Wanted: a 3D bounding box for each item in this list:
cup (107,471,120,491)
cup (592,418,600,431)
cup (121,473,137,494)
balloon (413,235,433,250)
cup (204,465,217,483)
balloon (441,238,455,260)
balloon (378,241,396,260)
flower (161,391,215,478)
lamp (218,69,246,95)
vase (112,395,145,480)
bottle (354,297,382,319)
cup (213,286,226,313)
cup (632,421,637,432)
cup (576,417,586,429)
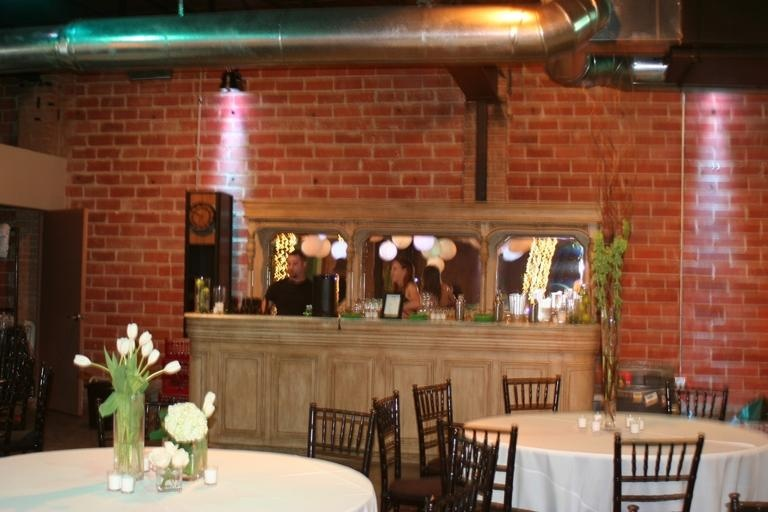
[{"bbox_3d":[-1.862,1.572,5.916,0.094,0.117,0.098,2,0,0],"label":"cup"},{"bbox_3d":[1.785,1.434,7.175,0.070,0.086,0.072,1,1,0],"label":"cup"},{"bbox_3d":[-1.757,1.565,5.822,0.099,0.122,0.103,1,0,0],"label":"cup"},{"bbox_3d":[0.517,-0.150,10.778,0.187,0.133,0.196,0,-2,5],"label":"balloon"},{"bbox_3d":[-1.222,1.544,6.009,0.092,0.114,0.096,0,2,0],"label":"cup"},{"bbox_3d":[0.817,-0.080,10.672,0.210,0.264,0.219,-5,-5,26],"label":"balloon"},{"bbox_3d":[0.049,-0.066,10.850,0.223,0.278,0.233,3,3,20],"label":"balloon"},{"bbox_3d":[-1.387,1.277,5.985,0.346,0.609,0.272,3,-4,-17],"label":"flower"},{"bbox_3d":[-1.909,-2.150,10.653,0.185,0.267,0.593,-1,1,-2],"label":"lamp"},{"bbox_3d":[-1.786,1.269,5.957,0.203,0.600,0.119,3,-4,-14],"label":"vase"},{"bbox_3d":[-0.208,0.622,9.932,0.311,0.246,0.177,-2,-2,21],"label":"bottle"},{"bbox_3d":[-1.958,0.538,10.114,0.130,0.317,0.271,3,-4,-11],"label":"cup"},{"bbox_3d":[2.097,1.438,7.095,0.055,0.067,0.057,1,1,0],"label":"cup"},{"bbox_3d":[1.685,1.430,7.253,0.073,0.091,0.076,0,-1,0],"label":"cup"}]
